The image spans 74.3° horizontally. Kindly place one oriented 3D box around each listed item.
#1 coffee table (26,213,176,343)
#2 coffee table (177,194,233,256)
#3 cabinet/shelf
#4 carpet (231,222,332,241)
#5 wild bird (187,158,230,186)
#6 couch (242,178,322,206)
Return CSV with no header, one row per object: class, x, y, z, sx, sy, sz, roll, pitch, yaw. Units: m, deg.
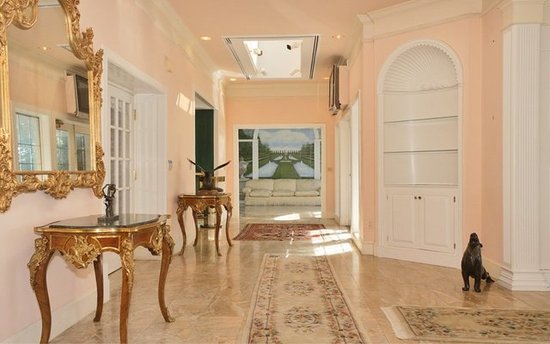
coffee table,-1.641,0.787,3.687,1.169,1.097,1.400,0,-1,6
coffee table,-1.194,0.868,6.352,1.006,0.887,0.978,0,0,8
cabinet/shelf,2.155,-0.291,5.419,1.246,3.272,0.479,2,6,21
carpet,0.151,1.285,7.873,1.895,0.118,2.016,0,5,2
wild bird,-1.490,-0.013,7.770,0.742,0.481,0.346,2,6,5
couch,0.248,0.734,13.039,2.737,0.826,1.135,0,5,3
